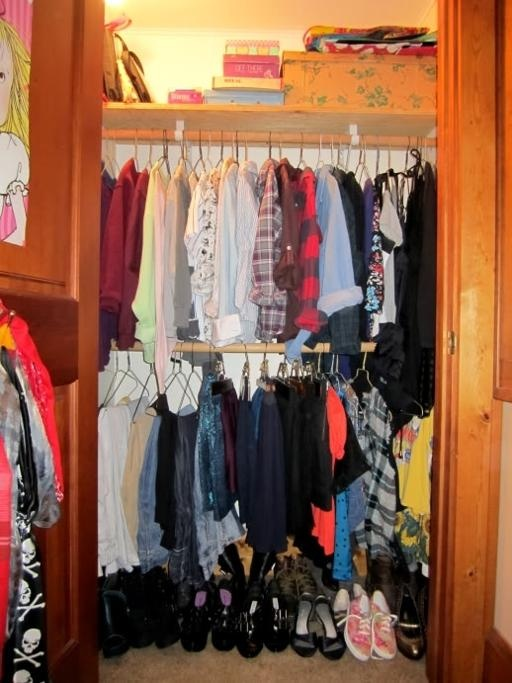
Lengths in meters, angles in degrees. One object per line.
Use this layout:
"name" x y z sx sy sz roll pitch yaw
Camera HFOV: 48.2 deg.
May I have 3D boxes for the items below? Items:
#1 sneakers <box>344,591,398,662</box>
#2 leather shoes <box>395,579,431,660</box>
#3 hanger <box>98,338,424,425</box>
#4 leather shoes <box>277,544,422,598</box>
"sneakers" 0.359 0.898 1.810 0.161 0.148 0.160 -2 1 7
"leather shoes" 0.504 0.885 1.858 0.096 0.154 0.239 -2 1 20
"hanger" 0.155 0.112 2.022 0.872 0.217 0.291 -3 1 5
"leather shoes" 0.350 0.815 2.036 0.189 0.149 0.406 0 -23 -15
